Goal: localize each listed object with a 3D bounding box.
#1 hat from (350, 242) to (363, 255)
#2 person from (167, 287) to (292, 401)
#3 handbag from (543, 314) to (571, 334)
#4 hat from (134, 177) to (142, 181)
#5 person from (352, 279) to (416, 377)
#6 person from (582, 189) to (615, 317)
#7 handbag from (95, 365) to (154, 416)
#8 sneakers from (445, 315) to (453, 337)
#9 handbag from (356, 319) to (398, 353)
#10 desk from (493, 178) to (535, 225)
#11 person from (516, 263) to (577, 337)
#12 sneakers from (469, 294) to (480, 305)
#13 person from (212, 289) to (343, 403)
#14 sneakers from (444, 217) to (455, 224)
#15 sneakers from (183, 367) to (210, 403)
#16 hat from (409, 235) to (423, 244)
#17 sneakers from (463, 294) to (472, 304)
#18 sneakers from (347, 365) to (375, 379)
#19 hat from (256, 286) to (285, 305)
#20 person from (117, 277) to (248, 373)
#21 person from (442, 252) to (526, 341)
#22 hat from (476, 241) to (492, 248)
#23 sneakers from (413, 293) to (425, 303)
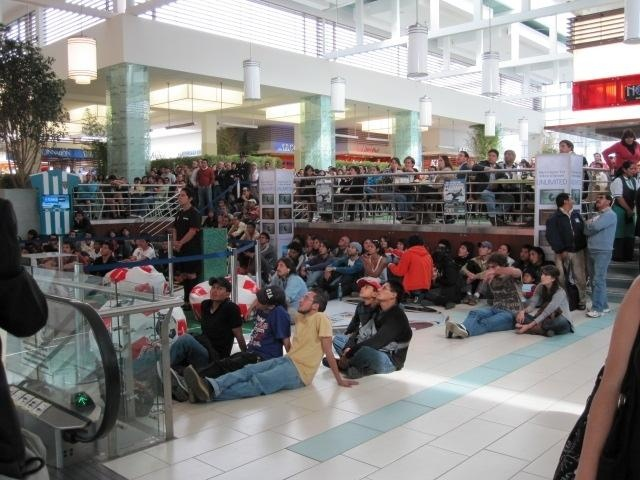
[{"bbox_3d":[0.731,0.151,10.036,0.220,0.214,0.293,12,0,16],"label":"hat"},{"bbox_3d":[-0.999,0.981,5.023,0.922,0.937,1.625,7,8,29],"label":"person"},{"bbox_3d":[3.432,1.223,6.954,0.295,0.152,0.377,0,-4,6],"label":"handbag"},{"bbox_3d":[-5.957,-1.985,15.658,0.191,0.169,0.136,2,3,4],"label":"hat"},{"bbox_3d":[0.656,0.988,5.693,0.861,1.051,0.935,7,0,-21],"label":"person"},{"bbox_3d":[4.871,0.239,8.358,0.462,2.060,1.063,2,6,30],"label":"person"},{"bbox_3d":[-1.460,1.215,3.706,0.522,0.447,0.113,3,1,2],"label":"handbag"},{"bbox_3d":[1.841,1.254,6.902,0.116,0.314,0.132,0,3,28],"label":"sneakers"},{"bbox_3d":[0.647,1.108,5.492,0.430,0.316,0.381,0,5,3],"label":"handbag"},{"bbox_3d":[4.420,-0.887,11.003,0.977,1.144,1.778,1,3,35],"label":"desk"},{"bbox_3d":[3.468,0.895,7.456,1.071,1.090,1.026,2,0,-19],"label":"person"},{"bbox_3d":[2.977,1.142,9.259,0.185,0.210,0.528,-1,-6,21],"label":"sneakers"},{"bbox_3d":[-0.485,1.091,5.013,1.640,0.880,0.842,-4,3,-40],"label":"person"},{"bbox_3d":[3.186,-0.500,11.710,0.240,0.177,0.420,1,5,18],"label":"sneakers"},{"bbox_3d":[-1.211,1.420,4.655,0.150,0.388,0.176,-34,-16,27],"label":"sneakers"},{"bbox_3d":[1.876,0.005,9.379,0.203,0.188,0.152,8,6,-28],"label":"hat"},{"bbox_3d":[2.879,1.140,9.317,0.183,0.201,0.520,0,-3,16],"label":"sneakers"},{"bbox_3d":[0.448,1.496,5.406,0.167,0.065,0.168,1,-2,35],"label":"sneakers"},{"bbox_3d":[-0.532,0.602,5.185,0.286,0.202,0.187,0,46,-8],"label":"hat"},{"bbox_3d":[-1.351,1.027,5.204,0.597,1.210,0.897,-2,-13,44],"label":"person"},{"bbox_3d":[2.525,0.778,7.353,1.638,1.263,0.804,1,-4,-38],"label":"person"},{"bbox_3d":[3.231,0.081,9.265,0.239,0.106,0.167,19,-5,-26],"label":"hat"},{"bbox_3d":[1.921,1.114,9.264,0.152,0.191,0.216,-3,-9,35],"label":"sneakers"}]
